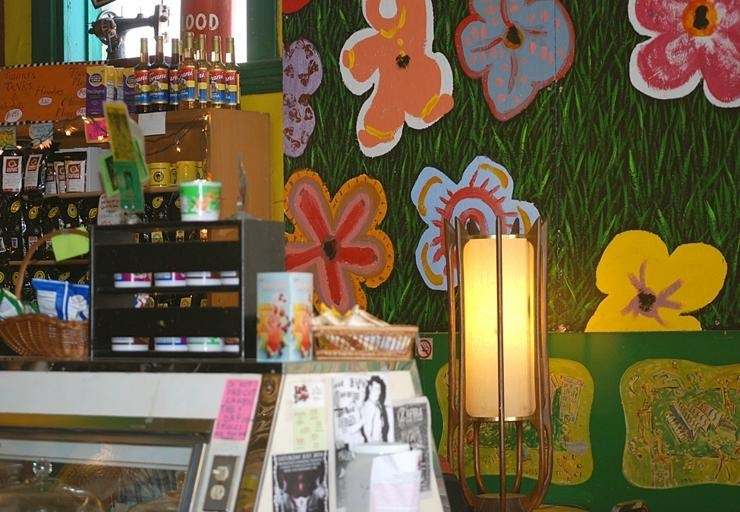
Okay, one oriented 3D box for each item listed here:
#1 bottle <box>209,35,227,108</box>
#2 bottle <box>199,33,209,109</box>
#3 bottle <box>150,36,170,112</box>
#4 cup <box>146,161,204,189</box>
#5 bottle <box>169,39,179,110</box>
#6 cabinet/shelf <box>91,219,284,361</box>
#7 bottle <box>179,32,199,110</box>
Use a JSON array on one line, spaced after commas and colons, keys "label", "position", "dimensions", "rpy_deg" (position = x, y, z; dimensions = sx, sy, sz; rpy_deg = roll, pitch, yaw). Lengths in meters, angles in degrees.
[{"label": "bottle", "position": [-0.968, -1.171, 5.877], "dimensions": [0.093, 0.453, 0.206], "rpy_deg": [-1, 4, -15]}, {"label": "bottle", "position": [-1.048, -1.171, 5.862], "dimensions": [0.071, 0.457, 0.164], "rpy_deg": [-1, 4, -10]}, {"label": "bottle", "position": [-1.317, -1.157, 5.869], "dimensions": [0.119, 0.477, 0.113], "rpy_deg": [0, 4, 0]}, {"label": "cup", "position": [-1.203, -0.516, 5.818], "dimensions": [0.401, 0.162, 0.127], "rpy_deg": [2, 4, 23]}, {"label": "bottle", "position": [-1.231, -1.158, 5.883], "dimensions": [0.071, 0.447, 0.147], "rpy_deg": [-1, 4, -12]}, {"label": "cabinet/shelf", "position": [-0.762, 0.137, 4.179], "dimensions": [0.824, 0.722, 0.542], "rpy_deg": [1, 1, 14]}, {"label": "bottle", "position": [-1.142, -1.173, 5.868], "dimensions": [0.114, 0.489, 0.209], "rpy_deg": [-1, 4, -11]}]
